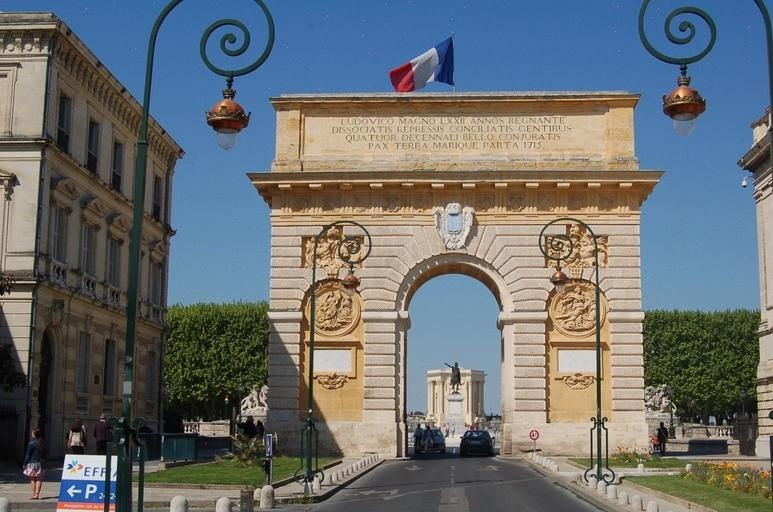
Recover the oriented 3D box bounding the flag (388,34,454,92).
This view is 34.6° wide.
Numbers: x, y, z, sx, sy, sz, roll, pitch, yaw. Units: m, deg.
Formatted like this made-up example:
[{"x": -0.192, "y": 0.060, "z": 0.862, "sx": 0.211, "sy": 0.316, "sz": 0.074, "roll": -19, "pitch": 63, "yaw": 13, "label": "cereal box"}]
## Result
[{"x": 2.224, "y": -12.156, "z": 78.807, "sx": 4.572, "sy": 3.732, "sz": 0.505, "roll": 0, "pitch": 30, "yaw": 17, "label": "flag"}]
